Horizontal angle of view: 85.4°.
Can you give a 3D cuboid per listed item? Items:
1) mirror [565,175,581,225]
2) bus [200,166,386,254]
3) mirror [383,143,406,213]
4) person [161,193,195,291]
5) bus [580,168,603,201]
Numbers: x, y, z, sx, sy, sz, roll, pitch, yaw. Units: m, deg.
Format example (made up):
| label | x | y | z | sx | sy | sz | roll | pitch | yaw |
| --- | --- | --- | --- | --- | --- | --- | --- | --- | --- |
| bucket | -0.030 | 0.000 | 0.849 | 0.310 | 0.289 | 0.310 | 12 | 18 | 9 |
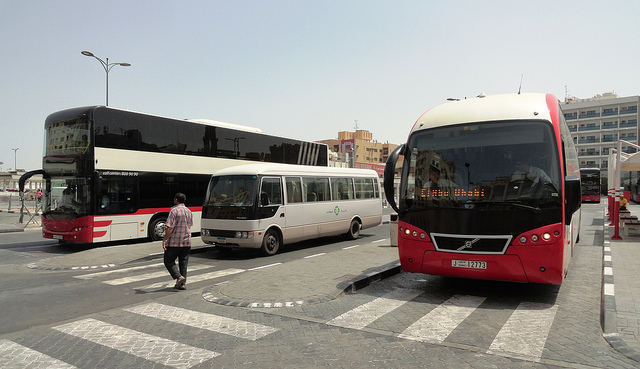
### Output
| label | x | y | z | sx | sy | sz | roll | pitch | yaw |
| --- | --- | --- | --- | --- | --- | --- | --- | --- | --- |
| mirror | 5.947 | 0.389 | 8.237 | 0.270 | 1.183 | 0.513 | 3 | 5 | 40 |
| bus | -0.874 | 0.972 | 18.307 | 3.519 | 3.269 | 10.707 | 0 | 0 | 37 |
| mirror | 1.979 | -0.170 | 9.022 | 0.557 | 1.746 | 0.395 | 9 | 11 | 44 |
| person | -4.044 | 1.633 | 9.905 | 0.683 | 2.714 | 0.556 | 0 | 4 | 10 |
| bus | 39.064 | 0.014 | 50.326 | 3.804 | 4.851 | 1.810 | -5 | 6 | -44 |
